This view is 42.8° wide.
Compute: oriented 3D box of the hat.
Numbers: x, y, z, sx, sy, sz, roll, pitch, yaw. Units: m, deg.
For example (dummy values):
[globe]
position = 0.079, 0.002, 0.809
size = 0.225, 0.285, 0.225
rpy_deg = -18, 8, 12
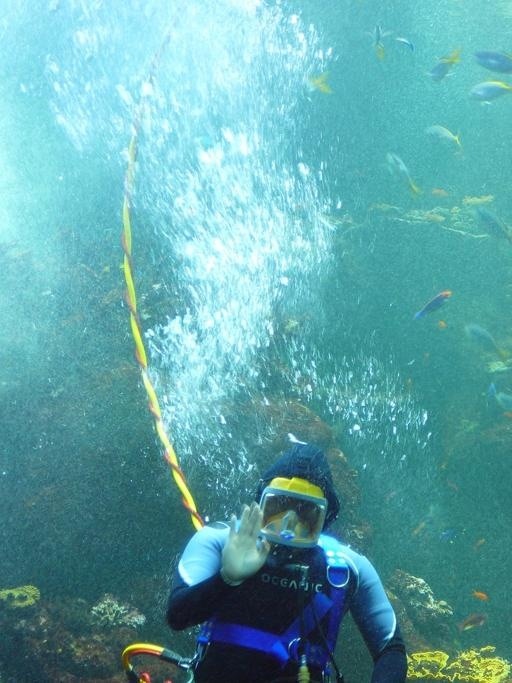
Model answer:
[hat]
position = 0.260, 0.740, 3.787
size = 0.322, 0.566, 0.410
rpy_deg = 10, 26, 3
